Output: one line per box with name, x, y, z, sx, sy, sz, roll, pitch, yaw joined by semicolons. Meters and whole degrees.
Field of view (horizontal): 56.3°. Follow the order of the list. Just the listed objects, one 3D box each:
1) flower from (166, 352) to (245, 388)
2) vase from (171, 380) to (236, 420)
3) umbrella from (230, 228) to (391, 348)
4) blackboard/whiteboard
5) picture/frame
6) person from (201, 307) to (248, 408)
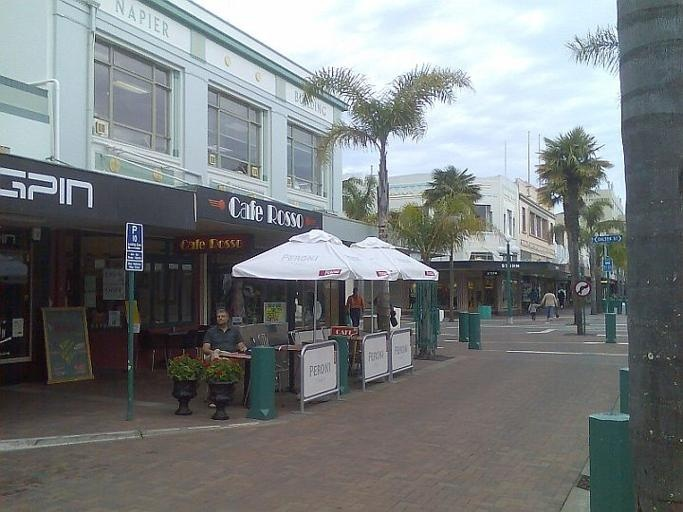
flower;-2.263;1.888;10.592;0.705;0.375;0.762;3;-8;-7
vase;-2.292;2.374;10.606;1.086;0.661;0.323;-5;-5;24
umbrella;-0.511;0.313;13.205;2.362;2.617;2.445;8;1;9
blackboard/whiteboard;-6.027;1.914;13.998;0.849;1.601;0.801;4;1;38
picture/frame;-6.040;1.970;13.969;0.174;2.350;1.524;-18;-11;29
person;-2.146;1.779;11.602;0.663;1.837;0.761;0;-1;-28
